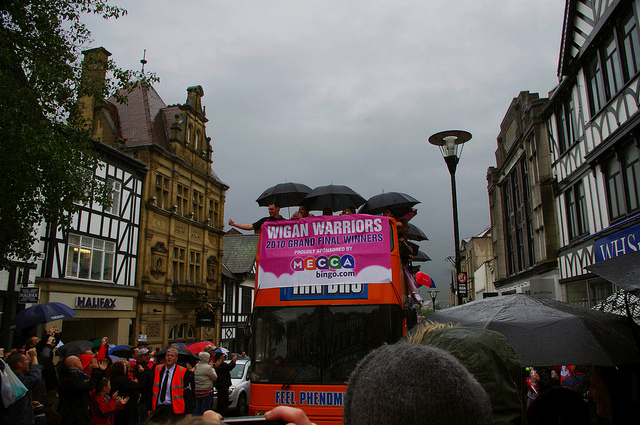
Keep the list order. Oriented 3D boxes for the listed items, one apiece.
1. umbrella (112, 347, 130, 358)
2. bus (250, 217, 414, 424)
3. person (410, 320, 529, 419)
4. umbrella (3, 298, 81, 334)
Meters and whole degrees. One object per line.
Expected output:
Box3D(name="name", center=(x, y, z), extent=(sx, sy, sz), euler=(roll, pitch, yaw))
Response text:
Box3D(name="umbrella", center=(-6.588, 4.667, 16.206), extent=(0.393, 0.354, 0.966), euler=(12, -23, -35))
Box3D(name="bus", center=(0.152, 2.148, 11.080), extent=(2.098, 3.101, 6.112), euler=(-3, -21, 8))
Box3D(name="person", center=(1.848, 1.726, 5.672), extent=(1.471, 1.033, 1.532), euler=(-5, -9, 26))
Box3D(name="umbrella", center=(-8.259, 3.043, 14.518), extent=(1.153, 0.609, 1.184), euler=(-3, -12, -35))
